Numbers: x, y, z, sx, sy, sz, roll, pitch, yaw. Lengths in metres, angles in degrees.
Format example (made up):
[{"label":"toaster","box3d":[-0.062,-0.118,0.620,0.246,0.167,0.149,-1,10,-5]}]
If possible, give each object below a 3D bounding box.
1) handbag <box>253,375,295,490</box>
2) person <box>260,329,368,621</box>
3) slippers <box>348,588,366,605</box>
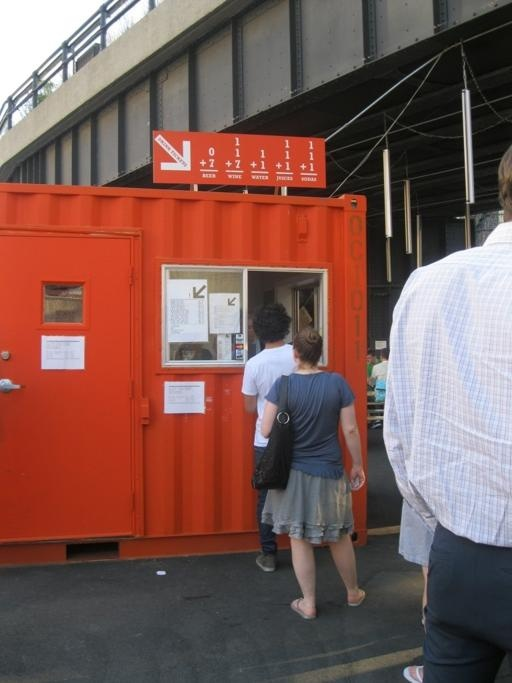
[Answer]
[{"label":"handbag","box3d":[0.091,0.502,4.634,0.213,0.623,0.144,1,2,0]},{"label":"person","box3d":[0.319,0.720,4.730,0.593,1.559,0.366,1,2,-2]},{"label":"slippers","box3d":[0.567,1.441,4.881,0.055,0.085,0.133,0,1,12]}]
